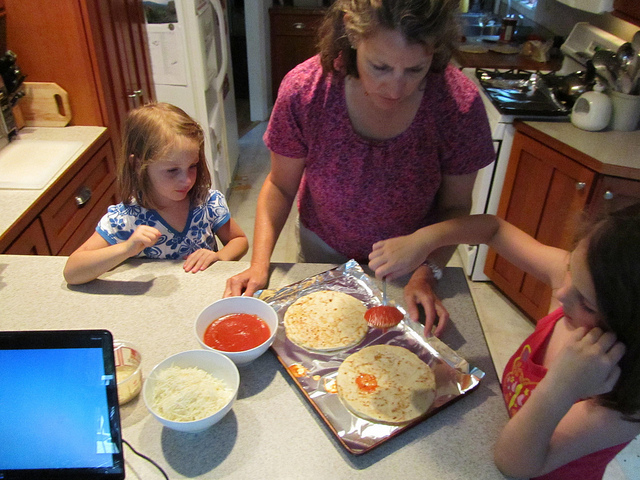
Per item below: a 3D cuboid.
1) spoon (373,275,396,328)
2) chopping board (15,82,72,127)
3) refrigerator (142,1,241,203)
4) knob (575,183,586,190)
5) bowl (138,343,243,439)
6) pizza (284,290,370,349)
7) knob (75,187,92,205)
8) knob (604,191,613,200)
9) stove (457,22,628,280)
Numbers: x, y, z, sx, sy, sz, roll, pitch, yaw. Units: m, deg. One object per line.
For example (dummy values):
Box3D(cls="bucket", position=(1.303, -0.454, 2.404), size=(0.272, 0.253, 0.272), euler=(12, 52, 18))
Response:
Box3D(cls="spoon", position=(0.207, 0.181, 1.405), size=(0.086, 0.132, 0.025), euler=(0, 2, 2))
Box3D(cls="chopping board", position=(-1.519, -0.719, 2.542), size=(0.025, 0.226, 0.300), euler=(9, 21, 32))
Box3D(cls="refrigerator", position=(-0.939, -0.974, 3.644), size=(0.512, 1.632, 1.071), euler=(-5, 39, -8))
Box3D(cls="knob", position=(1.325, -0.275, 2.412), size=(0.020, 0.046, 0.043), euler=(-10, 39, -14))
Box3D(cls="bowl", position=(-0.339, 0.385, 1.186), size=(0.231, 0.115, 0.211), euler=(20, 21, -8))
Box3D(cls="pizza", position=(0.028, 0.250, 1.481), size=(0.266, 0.018, 0.244), euler=(-12, 40, -13))
Box3D(cls="knob", position=(-1.208, -0.226, 2.413), size=(0.031, 0.076, 0.054), euler=(2, 8, 42))
Box3D(cls="knob", position=(1.406, -0.217, 2.312), size=(0.041, 0.033, 0.039), euler=(-13, -4, 12))
Box3D(cls="stove", position=(1.329, -0.637, 3.335), size=(0.831, 1.508, 1.382), euler=(21, 41, 22))
